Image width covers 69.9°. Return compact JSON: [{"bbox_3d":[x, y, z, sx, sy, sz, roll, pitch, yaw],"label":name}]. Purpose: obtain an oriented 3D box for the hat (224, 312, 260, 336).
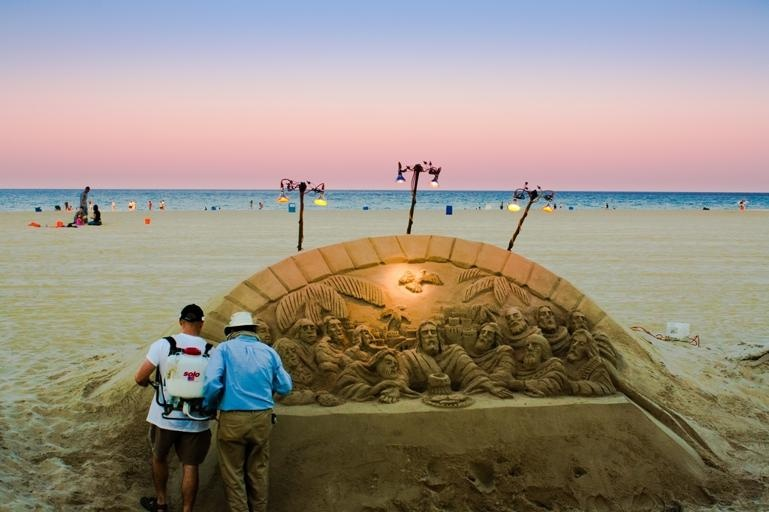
[{"bbox_3d":[-1.662,0.770,6.449,0.594,0.199,0.408,-4,-2,-2],"label":"hat"}]
